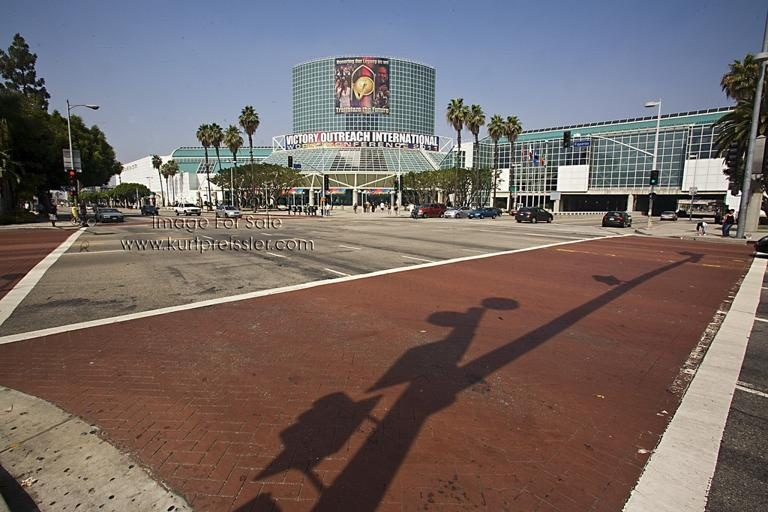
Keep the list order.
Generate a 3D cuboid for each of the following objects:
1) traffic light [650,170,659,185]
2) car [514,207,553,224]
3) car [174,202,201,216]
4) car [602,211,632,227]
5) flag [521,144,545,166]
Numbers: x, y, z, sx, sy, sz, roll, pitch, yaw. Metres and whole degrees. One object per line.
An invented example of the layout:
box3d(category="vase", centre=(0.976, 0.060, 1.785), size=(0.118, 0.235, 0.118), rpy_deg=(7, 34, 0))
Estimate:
box3d(category="traffic light", centre=(18.585, -5.364, 32.031), size=(0.385, 1.031, 2.087), rpy_deg=(5, 12, 27))
box3d(category="car", centre=(14.457, -3.934, 44.529), size=(3.139, 1.106, 1.584), rpy_deg=(-5, 8, -32))
box3d(category="car", centre=(-22.382, -5.313, 53.126), size=(1.514, 1.219, 3.316), rpy_deg=(-5, 6, -44))
box3d(category="car", centre=(19.763, -3.052, 38.900), size=(1.301, 0.995, 2.956), rpy_deg=(5, 10, 41))
box3d(category="flag", centre=(27.985, -18.749, 86.644), size=(0.528, 5.058, 4.846), rpy_deg=(-2, 7, -40))
